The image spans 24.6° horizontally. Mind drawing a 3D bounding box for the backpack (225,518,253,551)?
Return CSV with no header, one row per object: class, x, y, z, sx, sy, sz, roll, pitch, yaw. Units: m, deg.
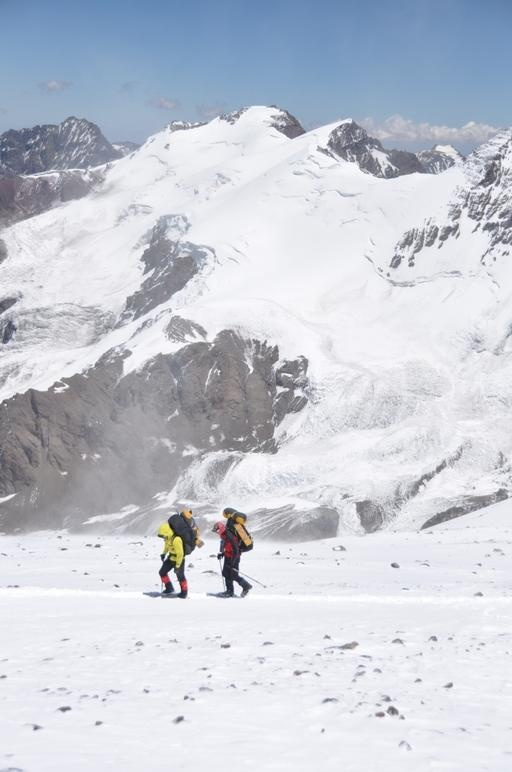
backpack,-0.186,2.747,22.035,0.228,0.563,0.585,-30,-4,-45
